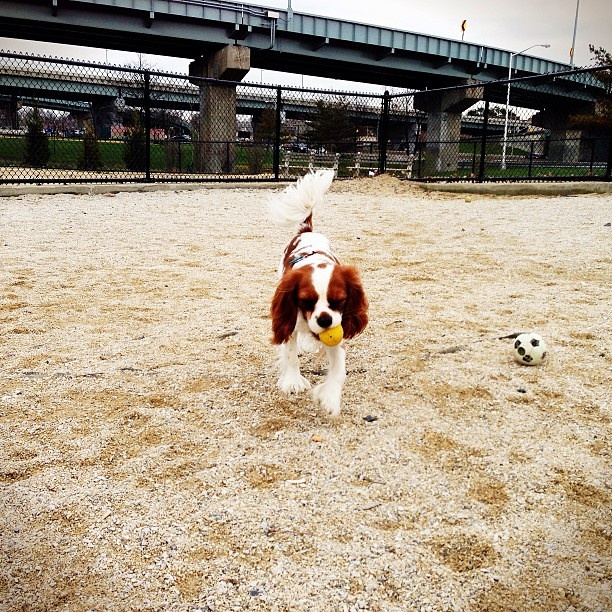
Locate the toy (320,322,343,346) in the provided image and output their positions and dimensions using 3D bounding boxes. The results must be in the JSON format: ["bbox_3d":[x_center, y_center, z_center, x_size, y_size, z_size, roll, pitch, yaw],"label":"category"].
[{"bbox_3d":[0.124,0.143,2.843,0.102,0.096,0.102,8,31,46],"label":"toy"}]

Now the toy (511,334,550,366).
[{"bbox_3d":[1.286,0.254,3.428,0.179,0.175,0.148,7,15,20],"label":"toy"}]
